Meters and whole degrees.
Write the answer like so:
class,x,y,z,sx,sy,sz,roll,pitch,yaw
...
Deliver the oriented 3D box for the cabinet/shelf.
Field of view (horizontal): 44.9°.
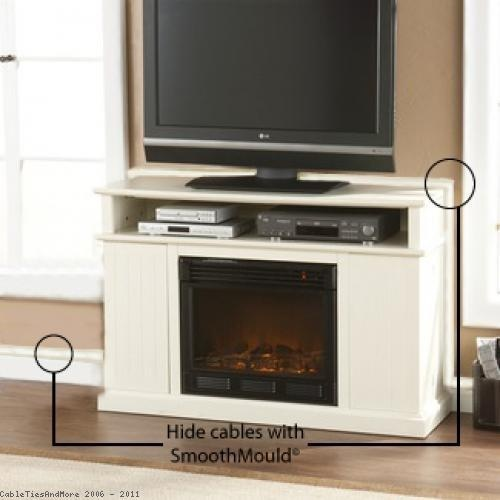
class,x,y,z,sx,sy,sz,roll,pitch,yaw
cabinet/shelf,0.102,0.191,2.336,1.301,0.935,0.442,0,8,17
